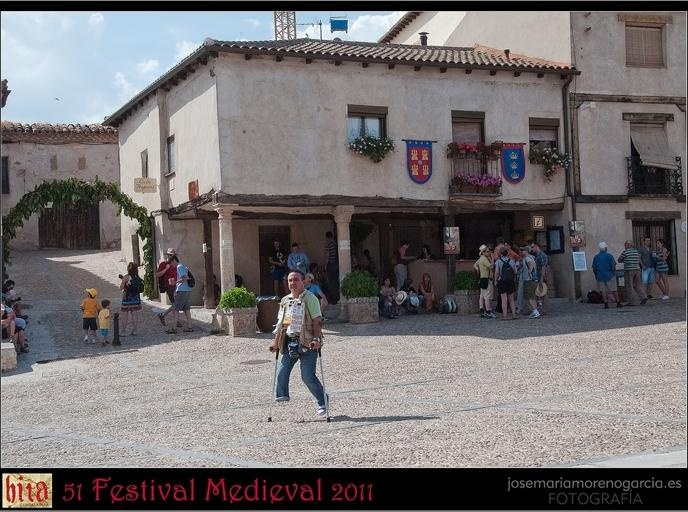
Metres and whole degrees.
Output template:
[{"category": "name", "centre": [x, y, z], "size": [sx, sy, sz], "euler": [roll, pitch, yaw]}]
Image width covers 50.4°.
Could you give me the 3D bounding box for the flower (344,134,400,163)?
[{"category": "flower", "centre": [0.821, -3.260, 22.021], "size": [1.415, 0.802, 0.393], "euler": [-1, -3, -19]}]

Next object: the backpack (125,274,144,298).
[{"category": "backpack", "centre": [-5.512, 0.786, 19.331], "size": [0.418, 0.619, 0.542], "euler": [4, -5, -40]}]

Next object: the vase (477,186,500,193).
[{"category": "vase", "centre": [4.496, -2.121, 23.089], "size": [0.828, 0.266, 0.136], "euler": [-1, -3, -20]}]

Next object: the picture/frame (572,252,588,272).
[{"category": "picture/frame", "centre": [7.547, 0.180, 23.773], "size": [0.578, 0.724, 0.094], "euler": [0, -7, -10]}]

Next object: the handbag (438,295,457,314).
[{"category": "handbag", "centre": [3.104, 1.487, 22.222], "size": [0.505, 0.561, 0.399], "euler": [-4, -2, 17]}]

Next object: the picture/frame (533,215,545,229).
[{"category": "picture/frame", "centre": [6.336, -1.149, 24.281], "size": [0.424, 0.452, 0.047], "euler": [0, -5, 0]}]

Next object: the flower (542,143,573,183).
[{"category": "flower", "centre": [6.840, -3.104, 23.934], "size": [0.960, 1.043, 0.692], "euler": [0, 13, -23]}]

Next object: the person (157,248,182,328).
[{"category": "person", "centre": [-4.955, 0.877, 20.966], "size": [0.702, 1.993, 0.683], "euler": [-3, 4, -16]}]

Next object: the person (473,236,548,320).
[{"category": "person", "centre": [4.465, 0.618, 20.486], "size": [0.921, 2.966, 1.113], "euler": [0, 0, 36]}]

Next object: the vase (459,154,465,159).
[{"category": "vase", "centre": [3.657, -3.158, 23.058], "size": [0.130, 0.136, 0.076], "euler": [2, 40, -1]}]

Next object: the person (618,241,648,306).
[{"category": "person", "centre": [8.862, 0.506, 22.583], "size": [0.760, 1.966, 0.929], "euler": [0, 0, -22]}]

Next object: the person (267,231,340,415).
[{"category": "person", "centre": [-0.721, 1.337, 11.445], "size": [0.836, 2.262, 1.038], "euler": [-2, -3, -5]}]

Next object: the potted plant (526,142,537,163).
[{"category": "potted plant", "centre": [6.058, -3.413, 23.928], "size": [0.511, 0.703, 0.533], "euler": [-2, -4, 18]}]

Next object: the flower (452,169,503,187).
[{"category": "flower", "centre": [4.088, -2.418, 22.959], "size": [1.026, 0.384, 0.663], "euler": [2, 2, -10]}]

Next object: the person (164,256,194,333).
[{"category": "person", "centre": [-4.429, 0.949, 19.697], "size": [0.709, 2.129, 0.685], "euler": [-6, -7, 24]}]

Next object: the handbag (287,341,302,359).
[{"category": "handbag", "centre": [-0.770, 1.442, 11.187], "size": [0.123, 0.287, 0.204], "euler": [0, -4, -37]}]

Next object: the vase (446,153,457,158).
[{"category": "vase", "centre": [3.310, -3.160, 22.925], "size": [0.211, 0.156, 0.123], "euler": [1, 10, 8]}]

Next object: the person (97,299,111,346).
[{"category": "person", "centre": [-6.108, 1.673, 18.693], "size": [0.288, 1.128, 1.654], "euler": [-1, -3, -19]}]

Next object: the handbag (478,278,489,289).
[{"category": "handbag", "centre": [3.881, 0.767, 20.717], "size": [0.282, 0.436, 0.244], "euler": [0, -2, 5]}]

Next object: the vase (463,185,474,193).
[{"category": "vase", "centre": [3.816, -2.123, 22.822], "size": [0.258, 0.209, 0.260], "euler": [-1, 6, -29]}]

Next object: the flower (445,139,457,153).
[{"category": "flower", "centre": [3.294, -3.390, 22.788], "size": [0.278, 0.338, 0.322], "euler": [1, -3, 14]}]

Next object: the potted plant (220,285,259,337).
[{"category": "potted plant", "centre": [-2.771, 1.410, 19.360], "size": [0.839, 1.317, 0.782], "euler": [-1, 4, 33]}]

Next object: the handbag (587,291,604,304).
[{"category": "handbag", "centre": [7.880, 1.298, 23.304], "size": [0.386, 0.425, 0.333], "euler": [-3, 0, 20]}]

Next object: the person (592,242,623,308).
[{"category": "person", "centre": [7.903, 0.544, 22.332], "size": [0.726, 1.992, 0.588], "euler": [-5, 5, 36]}]

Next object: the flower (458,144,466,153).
[{"category": "flower", "centre": [3.635, -3.374, 22.821], "size": [0.183, 0.230, 0.352], "euler": [-3, -3, 12]}]
